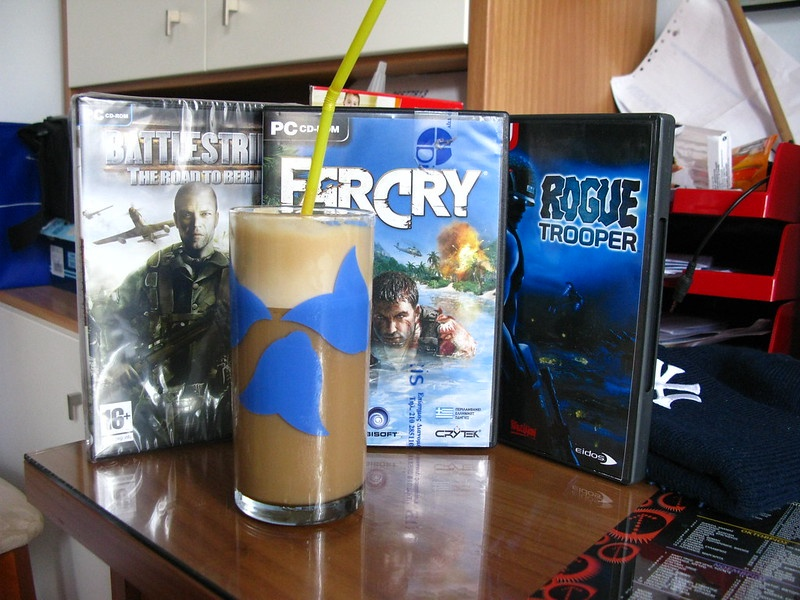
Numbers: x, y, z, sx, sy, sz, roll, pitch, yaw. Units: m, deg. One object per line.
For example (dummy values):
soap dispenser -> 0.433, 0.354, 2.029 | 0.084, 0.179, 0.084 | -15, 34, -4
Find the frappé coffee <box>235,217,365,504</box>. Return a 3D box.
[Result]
frappé coffee -> -0.094, 0.061, 0.619 | 0.136, 0.286, 0.087 | 0, 14, -3

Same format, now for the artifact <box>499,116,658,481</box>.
artifact -> 0.198, -0.006, 0.718 | 0.177, 0.387, 0.099 | 5, 15, 16

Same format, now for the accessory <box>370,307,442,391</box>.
accessory -> 0.005, 0.057, 0.800 | 0.075, 0.098, 0.096 | 3, -2, 4
